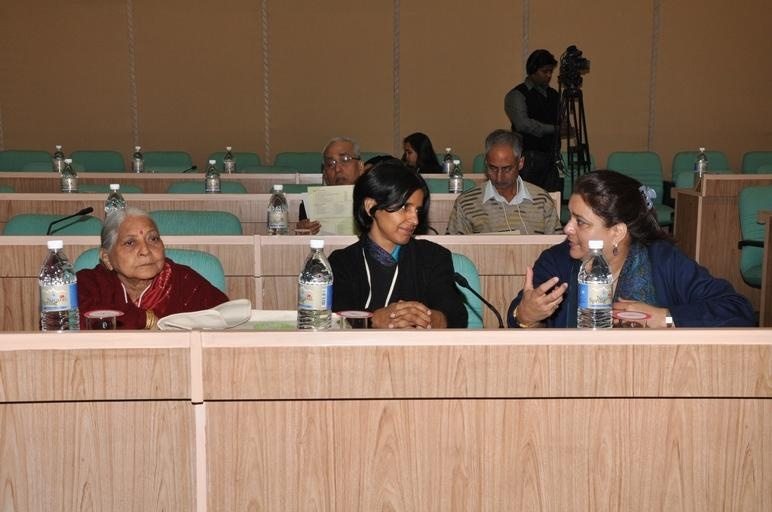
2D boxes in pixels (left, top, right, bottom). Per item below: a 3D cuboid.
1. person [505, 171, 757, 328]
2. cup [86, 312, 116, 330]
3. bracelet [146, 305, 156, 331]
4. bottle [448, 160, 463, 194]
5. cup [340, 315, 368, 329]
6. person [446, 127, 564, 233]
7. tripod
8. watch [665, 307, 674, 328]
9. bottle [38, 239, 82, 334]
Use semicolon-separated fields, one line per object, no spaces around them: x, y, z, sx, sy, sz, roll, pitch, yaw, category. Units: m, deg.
1.070;-0.029;4.020;1.059;0.728;0.511;-1;2;6;person
-1.166;0.271;3.684;0.095;0.093;0.096;0;-3;0;cup
-1.045;0.287;3.999;0.032;0.090;0.079;3;3;-10;bracelet
0.530;-0.588;6.823;0.143;0.240;0.145;-1;1;0;bottle
-0.137;0.282;3.745;0.149;0.040;0.057;0;2;40;cup
0.761;-0.401;5.756;0.802;0.750;0.433;-2;17;3;person
1.637;-1.035;7.911;0.438;1.008;0.443;-4;13;0;tripod
1.217;0.276;3.872;0.032;0.059;0.056;-3;-18;8;watch
-1.340;0.126;3.691;0.155;0.372;0.511;-2;2;-20;bottle
